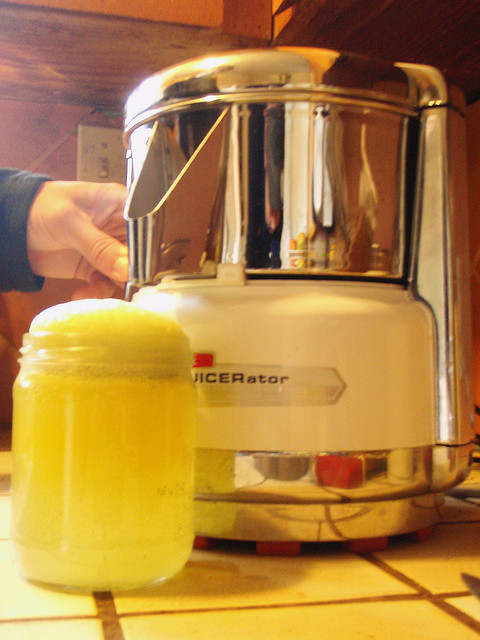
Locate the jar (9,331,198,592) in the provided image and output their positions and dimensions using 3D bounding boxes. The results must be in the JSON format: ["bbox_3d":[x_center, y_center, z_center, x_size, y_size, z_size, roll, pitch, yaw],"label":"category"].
[{"bbox_3d":[-0.079,0.079,0.407,0.104,0.144,0.050,1,0,0],"label":"jar"}]
